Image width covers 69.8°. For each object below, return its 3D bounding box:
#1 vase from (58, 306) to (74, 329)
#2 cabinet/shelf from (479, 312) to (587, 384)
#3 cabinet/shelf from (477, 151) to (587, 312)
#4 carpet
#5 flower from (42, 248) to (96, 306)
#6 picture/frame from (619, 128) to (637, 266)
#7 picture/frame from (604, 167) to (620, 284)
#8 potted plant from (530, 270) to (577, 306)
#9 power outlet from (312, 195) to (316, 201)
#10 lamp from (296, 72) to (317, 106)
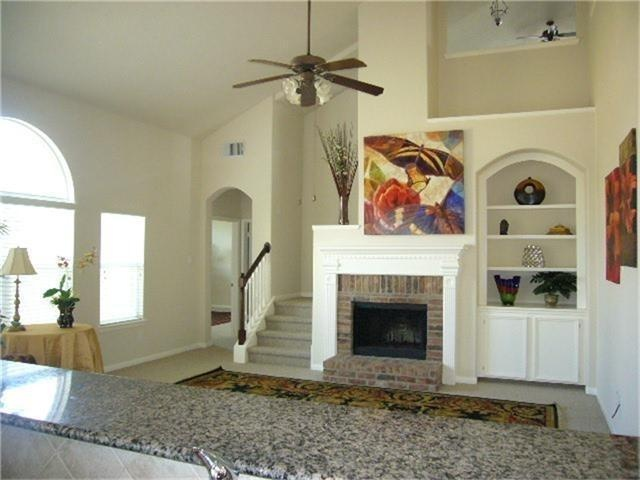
[{"bbox_3d":[-2.934,0.888,5.223,0.214,0.264,0.213,2,-5,-17],"label":"vase"},{"bbox_3d":[2.831,1.361,6.227,1.329,0.959,0.726,0,1,15],"label":"cabinet/shelf"},{"bbox_3d":[2.862,-0.104,6.332,1.325,2.069,0.885,1,-7,17],"label":"cabinet/shelf"},{"bbox_3d":[0.054,2.054,5.858,5.285,0.113,1.799,-3,-20,26],"label":"carpet"},{"bbox_3d":[-3.008,0.486,5.440,0.451,0.554,0.397,7,-9,-9],"label":"flower"},{"bbox_3d":[2.373,-0.312,3.532,0.075,1.058,0.822,-1,-8,31],"label":"picture/frame"},{"bbox_3d":[2.727,-0.127,4.261,0.016,1.043,1.046,1,-3,25],"label":"picture/frame"},{"bbox_3d":[3.140,0.616,6.188,0.505,0.355,0.494,2,-3,-36],"label":"potted plant"},{"bbox_3d":[-0.106,-0.813,8.979,0.058,0.092,0.090,0,0,20],"label":"power outlet"},{"bbox_3d":[-0.089,-1.266,3.883,0.145,0.285,0.067,7,23,13],"label":"lamp"}]
